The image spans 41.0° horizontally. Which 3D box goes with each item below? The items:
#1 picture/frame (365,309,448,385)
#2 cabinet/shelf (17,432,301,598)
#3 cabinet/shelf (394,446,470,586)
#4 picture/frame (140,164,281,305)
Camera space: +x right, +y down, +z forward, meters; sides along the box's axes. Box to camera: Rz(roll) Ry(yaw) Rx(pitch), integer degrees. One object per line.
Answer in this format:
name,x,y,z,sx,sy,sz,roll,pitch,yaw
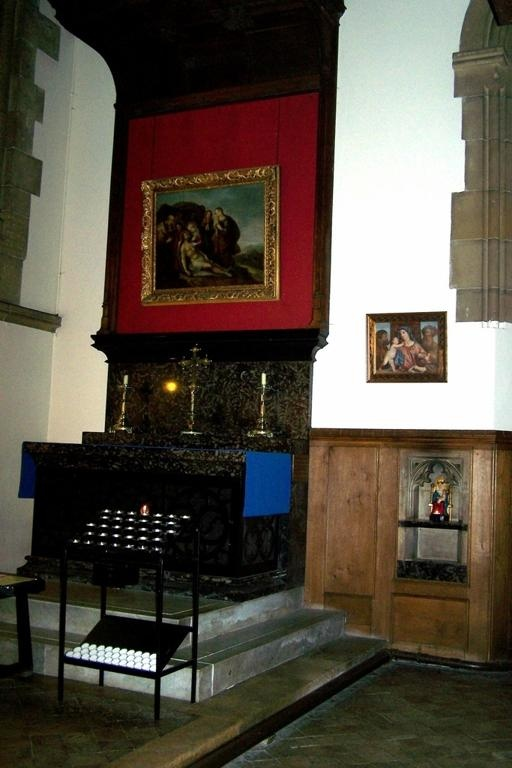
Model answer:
picture/frame,1.085,-0.255,4.838,0.556,0.516,0.041,0,-3,24
cabinet/shelf,-0.628,0.858,4.489,1.800,1.009,0.948,6,-8,4
cabinet/shelf,1.251,0.892,4.732,0.469,0.842,0.281,0,-7,24
picture/frame,-0.314,-1.204,5.532,1.250,1.023,0.083,-1,-3,27
